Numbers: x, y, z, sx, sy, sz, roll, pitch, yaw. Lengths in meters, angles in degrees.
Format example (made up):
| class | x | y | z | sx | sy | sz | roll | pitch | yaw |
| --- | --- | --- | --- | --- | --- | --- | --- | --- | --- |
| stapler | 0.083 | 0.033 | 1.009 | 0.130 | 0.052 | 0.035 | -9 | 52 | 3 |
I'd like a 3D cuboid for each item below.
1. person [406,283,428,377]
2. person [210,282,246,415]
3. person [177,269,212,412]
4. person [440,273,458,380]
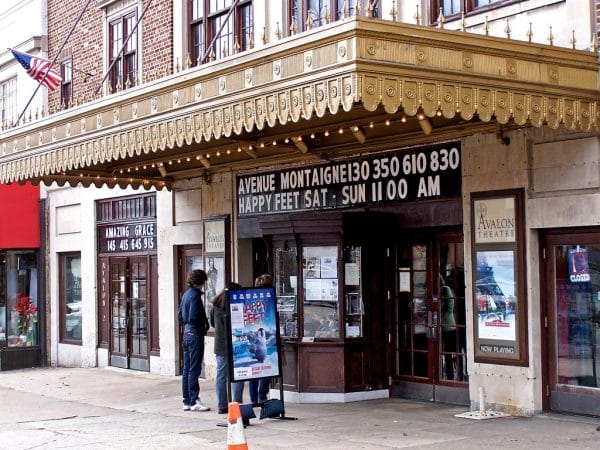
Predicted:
| class | x | y | z | sx | sy | sz | roll | pitch | yaw |
| --- | --- | --- | --- | --- | --- | --- | --- | --- | --- |
| person | 2.257 | 1.970 | 16.247 | 0.123 | 1.729 | 0.472 | 4 | -10 | -33 |
| person | -1.262 | 2.109 | 14.757 | 0.479 | 2.146 | 1.271 | 1 | -9 | -15 |
| person | -1.915 | 2.063 | 15.537 | 0.530 | 2.490 | 0.807 | 0 | -8 | -12 |
| person | 2.725 | 1.839 | 15.779 | 0.335 | 1.885 | 0.130 | -7 | -10 | 35 |
